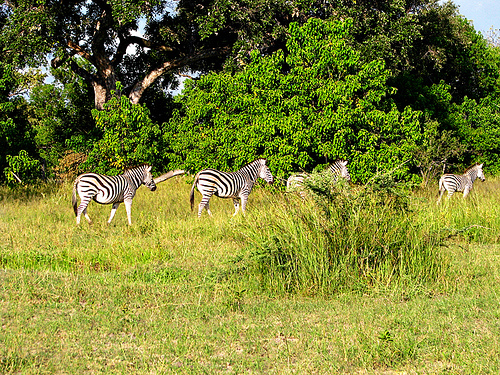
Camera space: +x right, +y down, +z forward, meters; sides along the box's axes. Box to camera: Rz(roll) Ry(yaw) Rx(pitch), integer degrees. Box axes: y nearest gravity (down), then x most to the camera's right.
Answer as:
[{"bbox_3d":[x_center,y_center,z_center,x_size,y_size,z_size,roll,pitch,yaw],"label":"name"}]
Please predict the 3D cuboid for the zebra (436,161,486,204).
[{"bbox_3d":[8.851,-0.120,32.148,2.077,1.824,0.703,-3,6,-6],"label":"zebra"}]

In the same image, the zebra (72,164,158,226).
[{"bbox_3d":[-5.287,0.263,30.176,3.213,2.851,1.052,0,9,-28],"label":"zebra"}]
